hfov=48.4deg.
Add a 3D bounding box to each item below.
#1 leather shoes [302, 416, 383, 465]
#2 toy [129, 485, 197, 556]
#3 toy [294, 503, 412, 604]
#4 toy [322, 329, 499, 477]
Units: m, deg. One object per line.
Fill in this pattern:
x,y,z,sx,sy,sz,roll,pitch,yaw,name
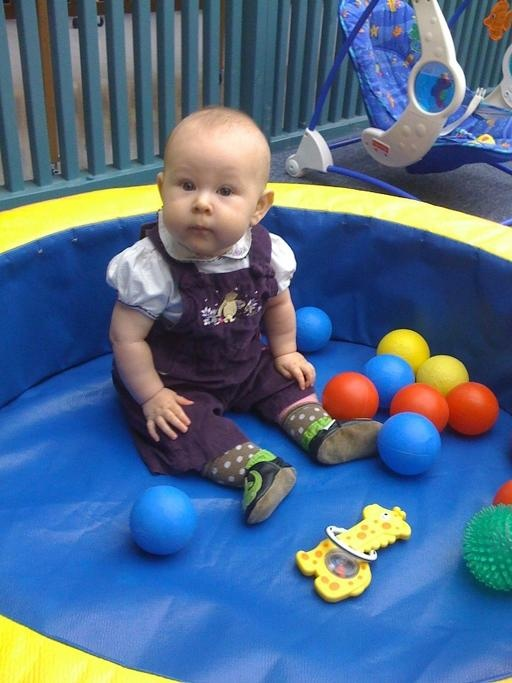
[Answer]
0.153,0.169,1.017,0.128,0.065,0.059,-3,22,-24,leather shoes
-0.124,0.243,0.774,0.067,0.078,0.081,19,33,39,toy
0.151,0.292,0.822,0.203,0.045,0.096,-27,42,-35,toy
0.266,0.099,1.047,0.247,0.086,0.249,-28,48,-36,toy
